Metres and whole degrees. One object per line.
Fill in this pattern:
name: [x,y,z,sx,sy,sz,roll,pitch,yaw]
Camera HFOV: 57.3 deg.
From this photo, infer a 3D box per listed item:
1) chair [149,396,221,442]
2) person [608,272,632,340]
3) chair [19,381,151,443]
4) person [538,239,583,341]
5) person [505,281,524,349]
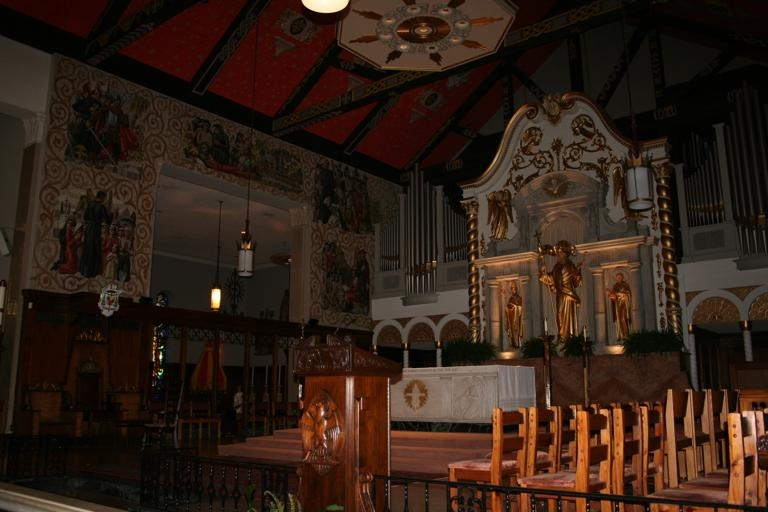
chair: [-4.384,3.637,15.628,1.452,0.933,1.510,-9,-19,28]
person: [5.142,1.186,15.250,0.477,1.305,0.246,-5,-14,22]
chair: [-6.000,3.102,14.033,2.326,0.950,0.716,9,-16,-32]
person: [3.940,0.806,15.671,0.913,2.191,0.939,-5,-14,19]
person: [3.018,1.371,16.304,0.440,1.573,0.228,-7,-15,27]
